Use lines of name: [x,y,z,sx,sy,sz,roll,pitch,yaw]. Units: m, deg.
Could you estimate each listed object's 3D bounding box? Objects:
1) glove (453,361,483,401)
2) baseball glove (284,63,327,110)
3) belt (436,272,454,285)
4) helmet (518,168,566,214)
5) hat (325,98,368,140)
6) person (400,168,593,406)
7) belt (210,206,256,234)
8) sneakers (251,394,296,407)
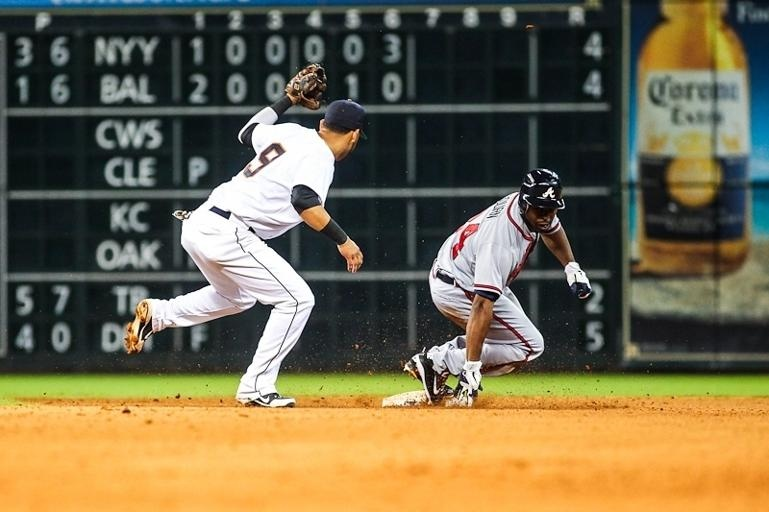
glove: [0.673,0.995,11.538,0.227,0.361,0.232,-2,2,-3]
baseball glove: [-0.647,-1.347,11.796,0.297,0.392,0.176,21,-31,8]
belt: [0.480,0.186,11.623,0.114,0.044,0.098,30,4,23]
helmet: [1.227,-0.515,11.261,0.264,0.213,0.361,0,11,-15]
hat: [-0.278,-1.097,11.539,0.261,0.206,0.354,25,18,24]
person: [0.890,0.251,11.546,1.379,1.855,0.607,-2,2,1]
belt: [-1.213,-0.311,11.307,0.256,0.063,0.200,37,-9,-16]
sneakers: [-0.883,1.126,11.407,0.359,0.146,0.127,0,-5,-1]
